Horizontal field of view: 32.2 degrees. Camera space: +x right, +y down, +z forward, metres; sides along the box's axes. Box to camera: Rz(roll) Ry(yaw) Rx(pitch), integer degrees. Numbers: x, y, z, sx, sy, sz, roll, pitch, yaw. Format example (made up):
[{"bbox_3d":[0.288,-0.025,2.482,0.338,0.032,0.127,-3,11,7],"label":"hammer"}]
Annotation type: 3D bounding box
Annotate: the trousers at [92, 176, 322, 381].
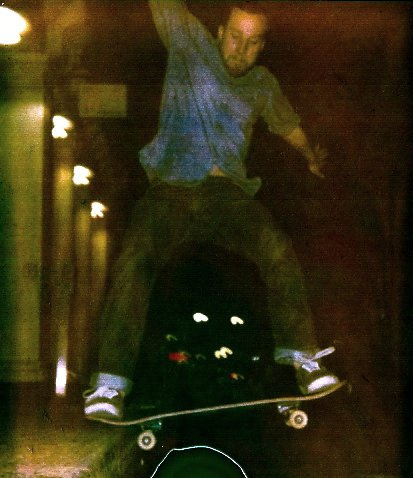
[{"bbox_3d":[-0.177,0.387,6.313,2.710,0.762,1.935,3,68,-36],"label":"trousers"}]
